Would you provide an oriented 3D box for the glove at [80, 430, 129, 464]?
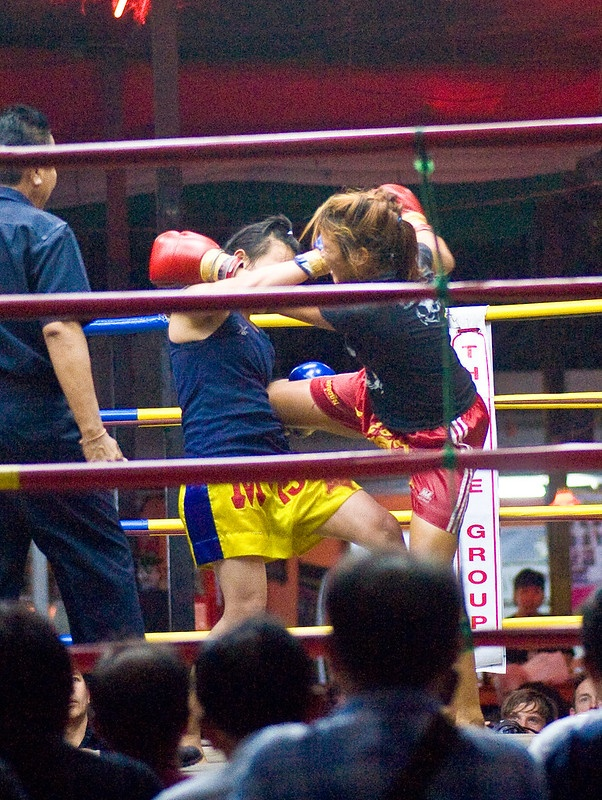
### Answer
[{"bbox_3d":[-0.384,0.088,3.394,0.076,0.060,0.158,-5,5,-8],"label":"glove"}]

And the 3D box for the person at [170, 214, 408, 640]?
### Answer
[{"bbox_3d":[-0.033,0.128,3.580,0.529,0.967,0.333,-10,3,-15],"label":"person"}]

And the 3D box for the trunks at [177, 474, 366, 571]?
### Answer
[{"bbox_3d":[-0.074,0.240,3.527,0.215,0.111,0.316,-15,-13,32],"label":"trunks"}]

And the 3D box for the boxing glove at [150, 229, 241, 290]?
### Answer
[{"bbox_3d":[-0.192,-0.250,3.218,0.148,0.054,0.100,3,10,5],"label":"boxing glove"}]

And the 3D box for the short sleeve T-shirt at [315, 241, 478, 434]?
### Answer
[{"bbox_3d":[0.124,-0.119,3.633,0.286,0.366,0.267,-6,34,-23],"label":"short sleeve T-shirt"}]
